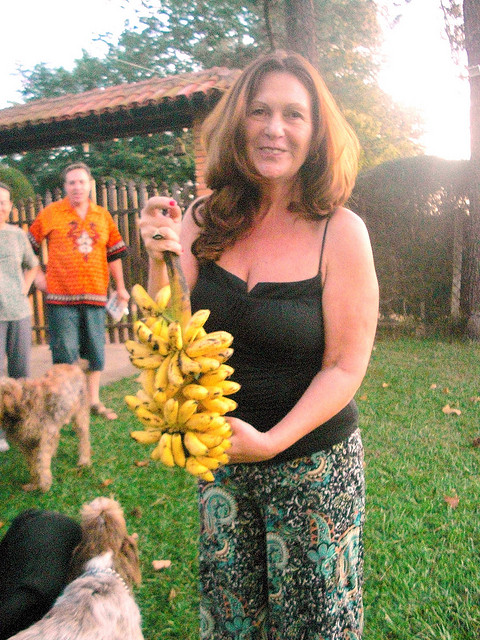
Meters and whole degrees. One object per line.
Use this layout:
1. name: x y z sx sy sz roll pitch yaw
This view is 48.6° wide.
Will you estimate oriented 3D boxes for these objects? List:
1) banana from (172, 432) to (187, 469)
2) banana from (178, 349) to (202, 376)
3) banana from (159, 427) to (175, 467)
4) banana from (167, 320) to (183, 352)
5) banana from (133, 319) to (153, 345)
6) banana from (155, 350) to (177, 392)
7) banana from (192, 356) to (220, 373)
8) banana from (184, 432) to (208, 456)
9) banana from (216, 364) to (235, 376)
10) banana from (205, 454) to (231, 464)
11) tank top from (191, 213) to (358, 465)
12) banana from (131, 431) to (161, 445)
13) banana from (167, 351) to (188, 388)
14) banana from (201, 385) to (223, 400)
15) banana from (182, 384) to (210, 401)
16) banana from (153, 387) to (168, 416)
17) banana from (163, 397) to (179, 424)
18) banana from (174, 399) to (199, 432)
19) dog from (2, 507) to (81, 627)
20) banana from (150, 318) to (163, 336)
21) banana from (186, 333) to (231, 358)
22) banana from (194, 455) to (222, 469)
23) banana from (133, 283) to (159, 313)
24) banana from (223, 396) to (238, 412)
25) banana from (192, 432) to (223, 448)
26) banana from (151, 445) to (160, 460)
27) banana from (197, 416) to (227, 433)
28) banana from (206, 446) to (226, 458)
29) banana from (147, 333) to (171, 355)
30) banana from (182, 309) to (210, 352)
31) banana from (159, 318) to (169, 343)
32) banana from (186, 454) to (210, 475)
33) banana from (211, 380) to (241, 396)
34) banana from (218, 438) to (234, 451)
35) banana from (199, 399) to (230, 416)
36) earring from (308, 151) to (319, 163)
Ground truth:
1. banana: -0.167 0.348 1.428 0.034 0.111 0.028 -5 -3 -40
2. banana: -0.130 0.117 1.346 0.054 0.071 0.106 -4 10 -17
3. banana: -0.198 0.340 1.432 0.048 0.030 0.115 9 42 -18
4. banana: -0.167 0.038 1.346 0.020 0.069 0.036 8 32 26
5. banana: -0.272 0.026 1.447 0.022 0.073 0.039 -18 14 40
6. banana: -0.196 0.146 1.434 0.043 0.138 0.037 -17 52 -12
7. banana: -0.079 0.108 1.329 0.030 0.020 0.058 -20 13 -29
8. banana: -0.112 0.314 1.360 0.024 0.025 0.066 -44 24 -14
9. banana: -0.037 0.128 1.382 0.014 0.026 0.045 -4 -7 20
10. banana: -0.060 0.352 1.391 0.067 0.027 0.019 8 37 15
11. tank top: 0.050 0.038 1.679 0.496 0.717 0.362 -1 11 23
12. banana: -0.257 0.319 1.446 0.068 0.040 0.021 8 -37 -31
13. banana: -0.160 0.135 1.345 0.035 0.118 0.030 -5 -6 -16
14. banana: -0.073 0.187 1.344 0.017 0.025 0.066 2 -3 -27
15. banana: -0.116 0.184 1.349 0.031 0.030 0.068 -19 0 -28
16. banana: -0.210 0.235 1.422 0.028 0.108 0.033 19 29 40
17. banana: -0.178 0.226 1.346 0.032 0.070 0.022 7 22 16
18. banana: -0.145 0.251 1.363 0.033 0.106 0.031 12 42 -31
19. dog: -0.613 0.701 1.621 0.206 0.134 0.420 -11 11 -3
20. banana: -0.233 0.018 1.483 0.025 0.051 0.016 4 -14 10
21. banana: -0.082 0.064 1.349 0.077 0.022 0.028 -23 -13 -3
22. banana: -0.086 0.362 1.363 0.063 0.018 0.022 18 45 26
23. banana: -0.273 -0.064 1.530 0.033 0.102 0.048 -27 19 2
24. banana: -0.028 0.232 1.476 0.020 0.020 0.065 -2 9 -23
25. banana: -0.086 0.296 1.367 0.025 0.033 0.091 31 -11 -40
26. banana: -0.231 0.356 1.439 0.021 0.037 0.043 -4 9 -14
27. banana: -0.068 0.264 1.350 0.058 0.043 0.034 -2 9 -4
28. banana: -0.065 0.334 1.358 0.052 0.039 0.017 4 10 30
29. banana: -0.217 0.061 1.405 0.024 0.040 0.072 -8 28 -38
30. banana: -0.108 0.003 1.407 0.036 0.150 0.048 21 -30 1
31. banana: -0.214 0.027 1.489 0.020 0.084 0.029 -3 12 3
32. banana: -0.118 0.373 1.373 0.039 0.029 0.078 -46 28 -10
33. banana: -0.037 0.170 1.397 0.095 0.032 0.027 -3 50 -46
34. banana: -0.033 0.310 1.356 0.049 0.029 0.015 2 1 -21
35. banana: -0.066 0.221 1.389 0.078 0.044 0.060 -3 9 -6
36. earring: 0.228 -0.496 1.623 0.025 0.007 0.024 3 -16 -41
